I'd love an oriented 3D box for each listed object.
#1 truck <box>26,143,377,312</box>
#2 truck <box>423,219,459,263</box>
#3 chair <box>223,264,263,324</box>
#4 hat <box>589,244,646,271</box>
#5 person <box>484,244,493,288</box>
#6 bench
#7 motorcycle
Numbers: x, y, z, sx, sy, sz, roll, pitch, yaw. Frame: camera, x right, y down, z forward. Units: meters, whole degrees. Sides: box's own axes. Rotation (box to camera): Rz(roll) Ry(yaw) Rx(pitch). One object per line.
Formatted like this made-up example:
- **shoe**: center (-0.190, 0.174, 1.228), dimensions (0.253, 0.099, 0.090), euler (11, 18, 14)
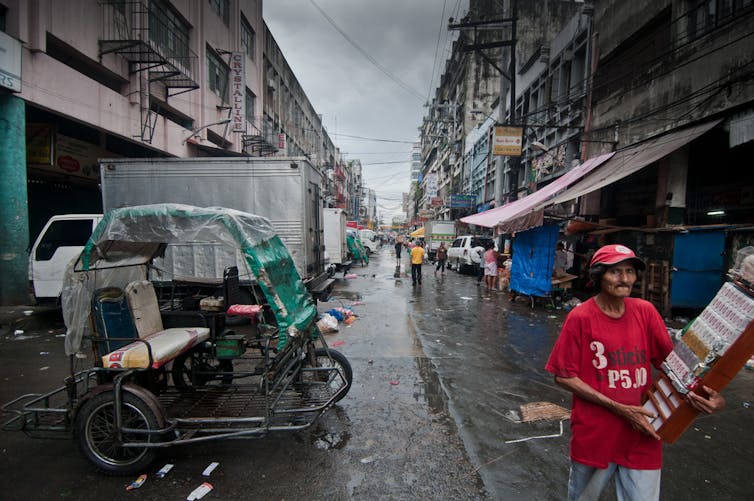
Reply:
- **truck**: center (-5.118, -0.494, 14.656), dimensions (7.032, 3.701, 3.631), euler (1, 0, -1)
- **truck**: center (4.126, -1.227, 34.642), dimensions (1.579, 1.791, 2.923), euler (1, 6, 1)
- **chair**: center (-2.478, 0.828, 10.015), dimensions (0.859, 1.102, 1.618), euler (3, 3, -8)
- **hat**: center (3.108, 0.032, 6.855), dimensions (0.377, 0.263, 0.481), euler (0, -13, -32)
- **person**: center (4.097, 0.457, 18.853), dimensions (0.373, 1.620, 0.563), euler (0, 7, -3)
- **bench**: center (-3.672, 1.039, 8.532), dimensions (1.104, 1.237, 1.860), euler (1, 2, 9)
- **motorcycle**: center (-1.937, 1.644, 8.982), dimensions (2.552, 1.324, 1.866), euler (-1, 4, 0)
